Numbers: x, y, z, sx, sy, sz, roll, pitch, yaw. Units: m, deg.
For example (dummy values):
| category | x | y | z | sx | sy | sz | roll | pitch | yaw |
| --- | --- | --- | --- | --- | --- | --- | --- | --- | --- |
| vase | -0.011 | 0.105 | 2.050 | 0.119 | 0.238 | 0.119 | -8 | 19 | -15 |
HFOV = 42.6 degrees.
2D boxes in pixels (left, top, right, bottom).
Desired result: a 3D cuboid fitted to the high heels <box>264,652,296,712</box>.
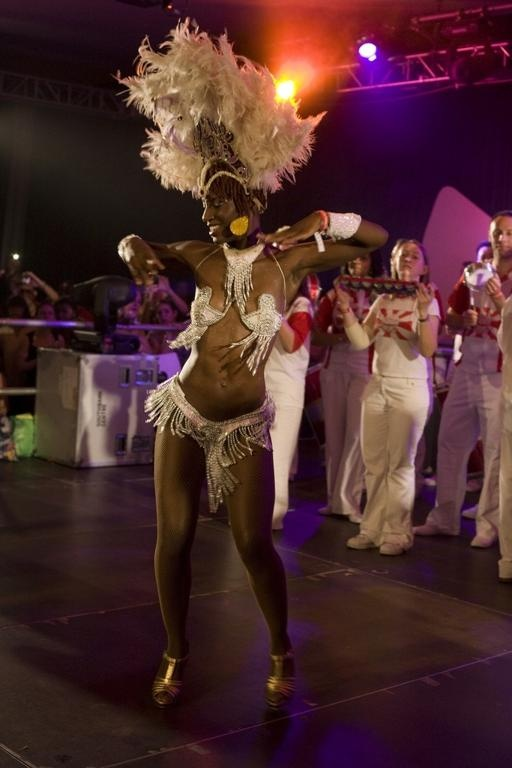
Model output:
| category | x | y | z | sx | sy | sz | roll | pitch | yaw |
| --- | --- | --- | --- | --- | --- | --- | --- | --- | --- |
| high heels | 0.071 | 0.840 | 1.857 | 0.062 | 0.147 | 0.064 | -1 | -40 | 10 |

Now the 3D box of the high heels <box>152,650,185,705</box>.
| category | x | y | z | sx | sy | sz | roll | pitch | yaw |
| --- | --- | --- | --- | --- | --- | --- | --- | --- | --- |
| high heels | -0.232 | 0.805 | 1.830 | 0.065 | 0.146 | 0.063 | 8 | -19 | 8 |

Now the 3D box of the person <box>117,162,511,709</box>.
| category | x | y | z | sx | sy | sz | roll | pitch | yaw |
| --- | --- | --- | --- | --- | --- | --- | --- | --- | --- |
| person | -0.061 | 0.142 | 1.833 | 0.708 | 1.408 | 0.331 | 5 | -1 | -12 |
